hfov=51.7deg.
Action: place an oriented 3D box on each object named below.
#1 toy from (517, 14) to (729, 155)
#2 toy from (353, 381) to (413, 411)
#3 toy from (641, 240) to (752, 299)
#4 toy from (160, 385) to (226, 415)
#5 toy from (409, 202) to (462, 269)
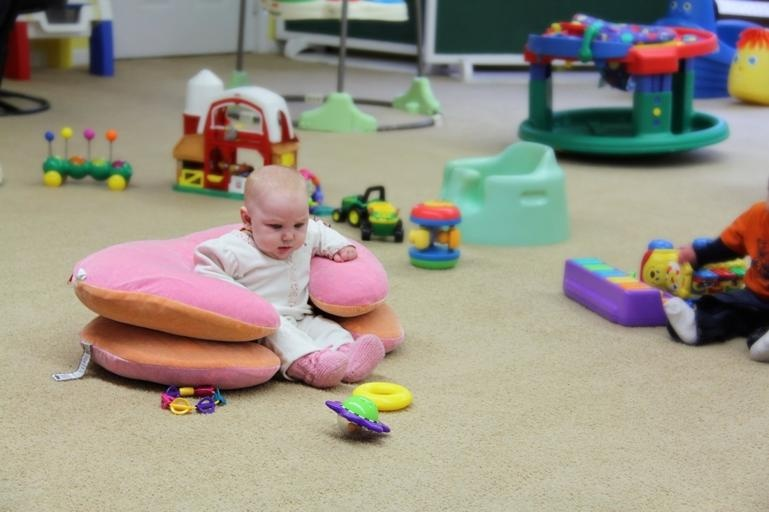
[{"bbox_3d":[1.333,-0.925,4.375,1.104,0.746,0.822,7,18,18],"label":"toy"},{"bbox_3d":[-0.004,0.366,2.086,0.098,0.024,0.092,1,9,-13],"label":"toy"},{"bbox_3d":[1.064,0.054,2.709,0.265,0.103,0.251,-8,18,-15],"label":"toy"},{"bbox_3d":[-0.498,0.376,2.061,0.114,0.035,0.084,2,9,4],"label":"toy"},{"bbox_3d":[0.189,-0.078,2.994,0.194,0.232,0.157,3,18,7],"label":"toy"}]
